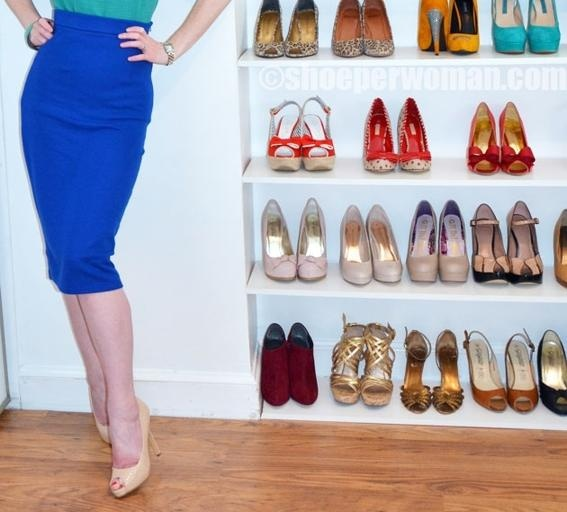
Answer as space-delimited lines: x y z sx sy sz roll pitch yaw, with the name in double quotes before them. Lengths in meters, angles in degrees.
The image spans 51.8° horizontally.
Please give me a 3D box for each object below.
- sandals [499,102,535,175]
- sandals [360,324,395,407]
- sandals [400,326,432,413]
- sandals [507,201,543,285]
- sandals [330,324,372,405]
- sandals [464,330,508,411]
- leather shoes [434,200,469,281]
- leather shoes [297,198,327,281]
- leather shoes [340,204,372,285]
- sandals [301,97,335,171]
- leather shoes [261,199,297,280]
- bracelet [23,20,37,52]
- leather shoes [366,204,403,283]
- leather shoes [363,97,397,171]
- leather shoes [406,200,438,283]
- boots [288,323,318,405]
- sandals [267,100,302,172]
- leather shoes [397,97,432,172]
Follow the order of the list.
"sandals" 0.820 -0.423 2.060 0.107 0.234 0.283 -1 15 21
"sandals" 0.354 0.426 2.184 0.103 0.359 0.134 0 -30 9
"sandals" 0.517 0.440 2.248 0.083 0.062 0.352 -2 43 7
"sandals" 0.891 -0.059 2.164 0.114 0.275 0.284 -1 14 22
"sandals" 0.259 0.419 2.207 0.102 0.355 0.131 2 -22 12
"sandals" 0.765 0.449 2.232 0.108 0.101 0.363 -12 46 14
"leather shoes" 0.622 -0.048 2.155 0.090 0.351 0.120 -3 -25 19
"leather shoes" 0.112 -0.047 2.181 0.093 0.329 0.116 -1 -19 10
"leather shoes" 0.272 -0.041 2.177 0.086 0.291 0.111 -3 -32 7
"sandals" 0.123 -0.463 2.111 0.096 0.334 0.115 -1 -25 5
"leather shoes" -0.028 -0.050 2.237 0.095 0.328 0.130 -8 -26 -2
"bracelet" -0.725 -0.628 1.678 0.052 0.085 0.028 -2 6 1
"leather shoes" 0.366 -0.037 2.214 0.091 0.312 0.117 -10 -29 4
"leather shoes" 0.340 -0.412 2.067 0.089 0.302 0.102 -2 -22 12
"leather shoes" 0.530 -0.057 2.183 0.091 0.336 0.121 -3 -34 20
"boots" 0.077 0.405 2.260 0.115 0.123 0.350 -1 41 -3
"sandals" 0.008 -0.458 2.098 0.092 0.093 0.318 -4 51 13
"leather shoes" 0.457 -0.425 2.081 0.103 0.323 0.119 -3 -24 10
